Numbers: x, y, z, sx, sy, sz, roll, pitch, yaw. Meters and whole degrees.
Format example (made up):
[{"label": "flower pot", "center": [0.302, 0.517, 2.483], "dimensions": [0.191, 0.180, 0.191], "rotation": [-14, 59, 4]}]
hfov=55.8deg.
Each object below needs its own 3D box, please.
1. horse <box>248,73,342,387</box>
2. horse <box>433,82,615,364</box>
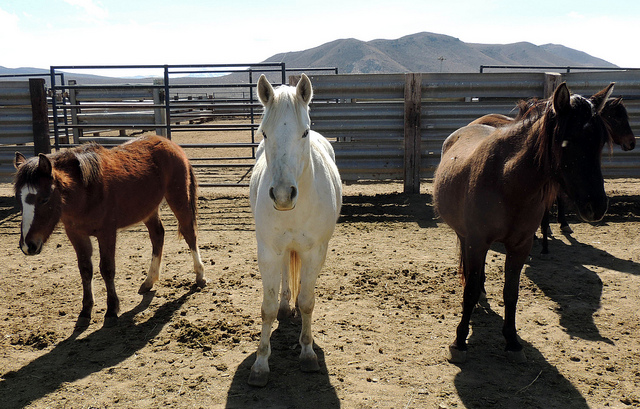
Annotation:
[{"label": "horse", "center": [-0.350, 0.234, 8.110], "dimensions": [1.157, 3.914, 1.677], "rotation": [-1, 14, 3]}, {"label": "horse", "center": [2.606, 0.213, 8.167], "dimensions": [2.266, 3.676, 1.762], "rotation": [8, 17, 33]}]
